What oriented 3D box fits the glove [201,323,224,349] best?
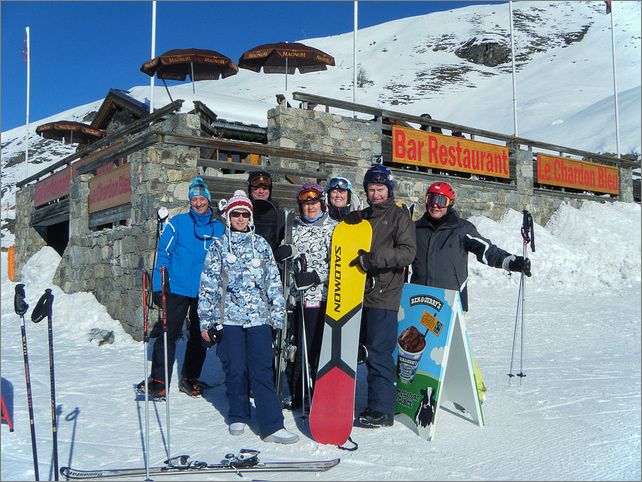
[{"bbox_3d":[-1.580,1.421,11.354,0.214,0.372,0.110,35,14,-2],"label":"glove"}]

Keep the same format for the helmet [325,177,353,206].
[{"bbox_3d":[0.297,-0.871,12.329,0.359,0.440,0.392,1,38,7],"label":"helmet"}]

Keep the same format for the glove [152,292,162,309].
[{"bbox_3d":[-2.548,0.924,12.157,0.100,0.262,0.257,2,-3,-37],"label":"glove"}]

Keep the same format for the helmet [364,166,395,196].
[{"bbox_3d":[0.909,-0.988,12.049,0.365,0.426,0.484,-1,-42,15],"label":"helmet"}]

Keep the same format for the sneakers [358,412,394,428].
[{"bbox_3d":[0.820,2.661,11.610,0.481,0.234,0.223,7,14,-9],"label":"sneakers"}]

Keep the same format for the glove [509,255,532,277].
[{"bbox_3d":[3.071,0.387,11.877,0.330,0.147,0.251,-1,19,-35],"label":"glove"}]

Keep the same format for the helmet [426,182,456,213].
[{"bbox_3d":[1.879,-0.690,12.061,0.326,0.358,0.427,5,-8,26],"label":"helmet"}]

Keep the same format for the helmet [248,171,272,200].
[{"bbox_3d":[-1.001,-0.913,12.688,0.372,0.462,0.447,1,-1,-8],"label":"helmet"}]

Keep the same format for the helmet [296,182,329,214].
[{"bbox_3d":[-0.164,-0.712,11.963,0.374,0.416,0.467,-2,-27,5],"label":"helmet"}]

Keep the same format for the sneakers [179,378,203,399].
[{"bbox_3d":[-2.098,2.384,12.548,0.380,0.272,0.200,-7,-8,44],"label":"sneakers"}]
